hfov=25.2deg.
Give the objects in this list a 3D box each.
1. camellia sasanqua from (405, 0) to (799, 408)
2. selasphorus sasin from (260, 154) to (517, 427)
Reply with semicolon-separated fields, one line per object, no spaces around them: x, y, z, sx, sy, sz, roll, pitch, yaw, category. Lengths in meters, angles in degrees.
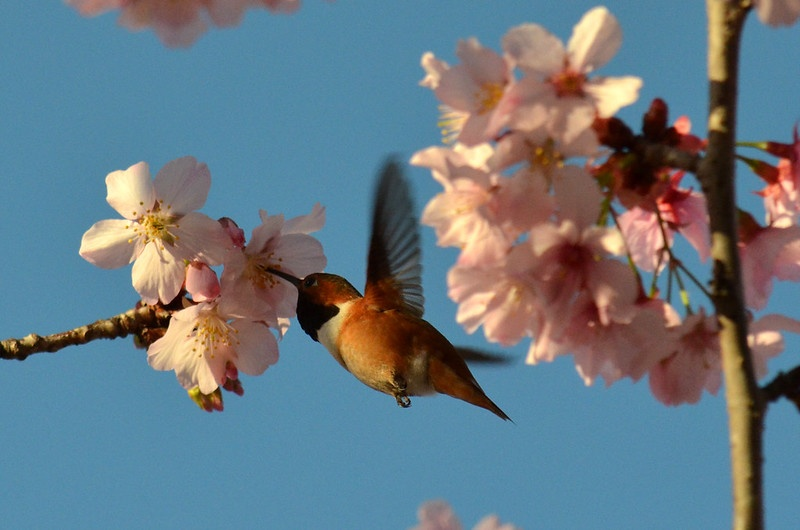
0.568;-0.094;5.379;1.171;1.126;0.837;0;-16;8;camellia sasanqua
-0.051;0.184;5.469;0.685;0.675;0.704;-5;-47;7;selasphorus sasin
